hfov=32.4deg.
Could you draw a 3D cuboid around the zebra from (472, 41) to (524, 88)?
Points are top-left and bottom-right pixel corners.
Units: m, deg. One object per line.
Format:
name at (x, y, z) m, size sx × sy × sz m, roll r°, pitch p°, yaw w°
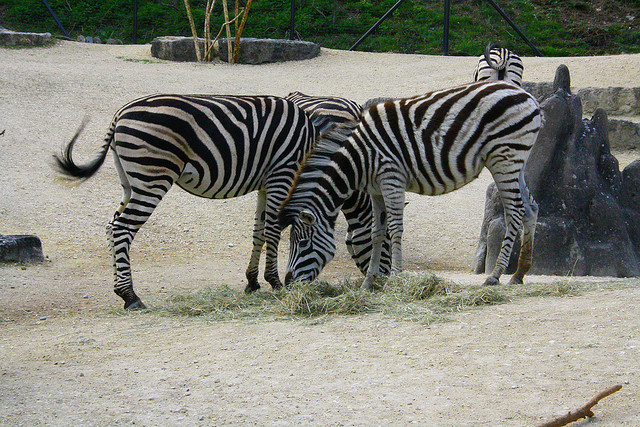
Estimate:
zebra at (3.267, -2.738, 20.088) m, size 0.834 × 0.694 × 0.635 m, roll 3°, pitch 13°, yaw 7°
